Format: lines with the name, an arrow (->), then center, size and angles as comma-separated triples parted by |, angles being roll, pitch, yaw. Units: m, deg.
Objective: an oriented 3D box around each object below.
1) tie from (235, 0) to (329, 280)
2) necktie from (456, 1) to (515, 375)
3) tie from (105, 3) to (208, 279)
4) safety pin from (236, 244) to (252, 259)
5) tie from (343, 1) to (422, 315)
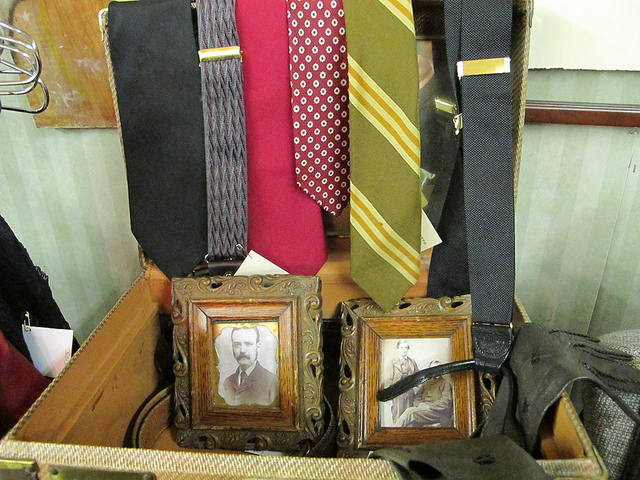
tie -> -0.092, -0.203, 1.242 | 0.157, 0.602, 0.011 | -6, 21, 11
necktie -> 0.322, -0.131, 1.111 | 0.099, 0.777, 0.081 | 2, 4, 21
tie -> -0.342, -0.196, 1.205 | 0.199, 0.576, 0.117 | -2, 16, -8
safety pin -> -0.166, 0.025, 1.242 | 0.005, 0.027, 0.015 | -50, 21, -14
tie -> 0.125, -0.156, 1.165 | 0.163, 0.622, 0.099 | 0, 16, -2
